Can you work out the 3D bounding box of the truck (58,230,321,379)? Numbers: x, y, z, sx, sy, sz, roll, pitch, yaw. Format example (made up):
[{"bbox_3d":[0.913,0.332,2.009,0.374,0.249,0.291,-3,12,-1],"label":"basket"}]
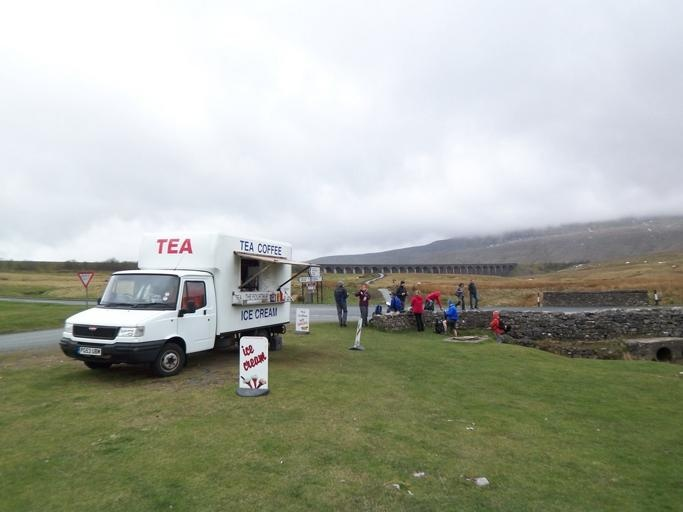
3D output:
[{"bbox_3d":[-4.870,1.489,13.576,3.830,3.723,7.678,-3,-7,27],"label":"truck"}]

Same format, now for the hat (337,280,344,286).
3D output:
[{"bbox_3d":[-0.049,1.408,21.675,0.327,0.352,0.364,2,-8,-5],"label":"hat"}]

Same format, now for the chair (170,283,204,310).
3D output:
[{"bbox_3d":[-4.215,1.034,11.279,0.535,0.662,0.682,1,-13,-8],"label":"chair"}]
